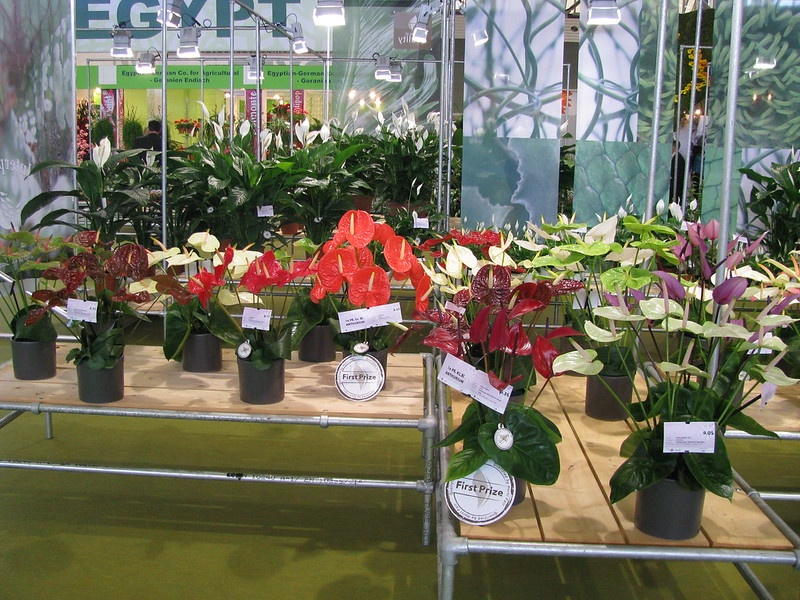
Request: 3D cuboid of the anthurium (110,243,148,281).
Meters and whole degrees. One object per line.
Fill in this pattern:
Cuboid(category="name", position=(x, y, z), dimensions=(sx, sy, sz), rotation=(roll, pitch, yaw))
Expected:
Cuboid(category="anthurium", position=(-1.000, -0.136, 2.180), dimensions=(0.172, 0.138, 0.093), rotation=(3, 14, 7))

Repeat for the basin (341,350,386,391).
Cuboid(category="basin", position=(-0.150, 0.278, 2.407), dimensions=(0.156, 0.176, 0.160), rotation=(0, 20, 0))

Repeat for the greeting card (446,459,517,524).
Cuboid(category="greeting card", position=(0.210, 0.511, 1.563), dimensions=(0.178, 0.159, 0.048), rotation=(1, 14, 0))

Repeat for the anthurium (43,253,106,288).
Cuboid(category="anthurium", position=(-1.212, -0.098, 2.237), dimensions=(0.196, 0.167, 0.285), rotation=(-10, 18, -37))

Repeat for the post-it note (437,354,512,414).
Cuboid(category="post-it note", position=(0.204, 0.225, 1.574), dimensions=(0.193, 0.146, 0.089), rotation=(11, 17, 34))

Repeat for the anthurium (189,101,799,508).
Cuboid(category="anthurium", position=(0.496, 0.093, 2.029), dimensions=(1.678, 0.824, 1.417), rotation=(0, 15, -5))

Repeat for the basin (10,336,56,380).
Cuboid(category="basin", position=(-1.448, 0.215, 2.438), dimensions=(0.161, 0.184, 0.166), rotation=(4, 8, -1))
